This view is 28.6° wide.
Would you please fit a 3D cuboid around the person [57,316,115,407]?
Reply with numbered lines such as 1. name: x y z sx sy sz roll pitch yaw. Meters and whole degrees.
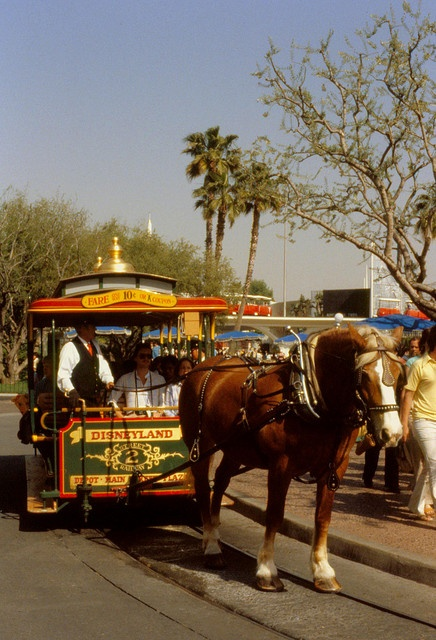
1. person: -1.363 0.590 8.961 0.644 1.158 0.399 -16 23 -41

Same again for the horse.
1. horse: 0.472 1.062 6.811 0.800 1.976 2.824 5 -6 -30

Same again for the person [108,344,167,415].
1. person: -0.827 0.665 8.877 0.621 0.795 0.452 1 -6 -10
